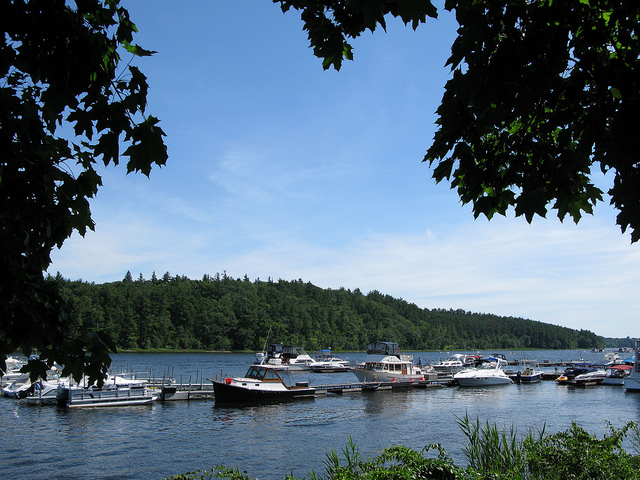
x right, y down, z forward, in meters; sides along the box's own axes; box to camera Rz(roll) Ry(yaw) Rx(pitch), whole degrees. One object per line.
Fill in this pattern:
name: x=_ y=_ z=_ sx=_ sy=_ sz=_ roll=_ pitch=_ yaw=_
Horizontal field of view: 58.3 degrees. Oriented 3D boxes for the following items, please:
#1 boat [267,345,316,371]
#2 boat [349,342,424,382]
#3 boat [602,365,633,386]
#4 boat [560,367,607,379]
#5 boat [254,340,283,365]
boat: x=-2.931 y=15.382 z=75.514 sx=3.302 sy=3.192 sz=8.176 roll=-7 pitch=-19 yaw=29
boat: x=5.656 y=10.687 z=49.865 sx=8.247 sy=3.743 sz=2.934 roll=8 pitch=-12 yaw=-40
boat: x=28.156 y=12.572 z=54.196 sx=2.675 sy=1.596 sz=5.069 roll=-1 pitch=-4 yaw=33
boat: x=25.248 y=12.522 z=54.234 sx=2.480 sy=0.809 sz=1.843 roll=-1 pitch=-5 yaw=-5
boat: x=-6.990 y=15.306 z=80.307 sx=2.896 sy=4.033 sz=10.387 roll=1 pitch=-12 yaw=-1
